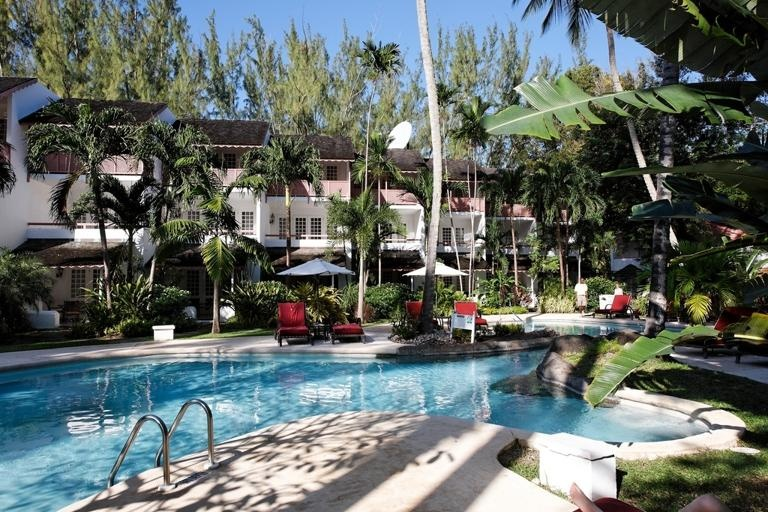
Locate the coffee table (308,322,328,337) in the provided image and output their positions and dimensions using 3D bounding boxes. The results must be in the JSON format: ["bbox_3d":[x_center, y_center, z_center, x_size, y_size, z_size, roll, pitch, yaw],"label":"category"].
[{"bbox_3d":[-2.724,3.094,22.762,0.641,0.427,0.655,0,-7,-3],"label":"coffee table"}]

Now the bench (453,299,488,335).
[{"bbox_3d":[3.729,2.396,21.842,1.389,1.894,1.473,-1,-2,-22],"label":"bench"}]

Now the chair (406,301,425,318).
[{"bbox_3d":[1.286,2.199,22.377,0.673,0.707,0.594,2,-8,-15],"label":"chair"}]

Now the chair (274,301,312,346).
[{"bbox_3d":[-3.636,2.711,21.532,1.317,1.494,1.809,-2,5,-12],"label":"chair"}]

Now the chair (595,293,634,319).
[{"bbox_3d":[13.255,2.788,30.118,2.419,1.493,1.586,2,-4,-44],"label":"chair"}]
